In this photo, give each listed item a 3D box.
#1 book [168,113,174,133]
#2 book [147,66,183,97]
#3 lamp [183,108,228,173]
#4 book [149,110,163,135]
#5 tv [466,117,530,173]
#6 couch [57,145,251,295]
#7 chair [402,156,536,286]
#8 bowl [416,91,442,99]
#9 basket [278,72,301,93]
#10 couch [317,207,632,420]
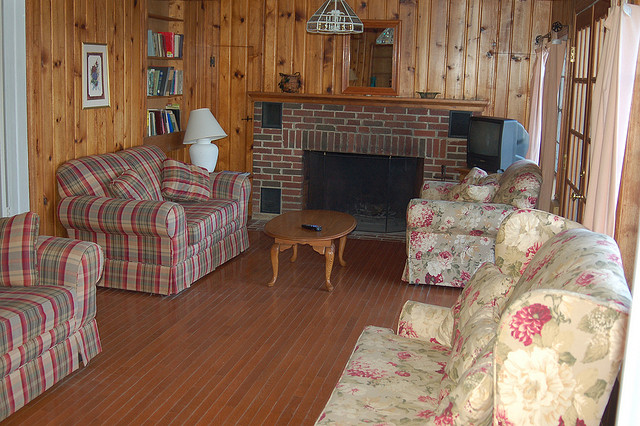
[{"bbox_3d":[-2.035,-1.199,6.486,0.035,0.165,0.154,-3,7,-10],"label":"book"},{"bbox_3d":[-2.082,-1.736,6.364,0.162,0.397,0.767,5,13,13],"label":"book"},{"bbox_3d":[-1.495,-0.881,6.153,0.524,0.870,0.550,-10,-6,22],"label":"lamp"},{"bbox_3d":[-2.130,-1.172,6.218,0.054,0.287,0.189,7,13,20],"label":"book"},{"bbox_3d":[2.245,-0.845,5.959,0.616,0.658,0.649,-3,15,-13],"label":"tv"},{"bbox_3d":[-1.734,0.003,5.059,1.403,1.165,1.474,5,13,11],"label":"couch"},{"bbox_3d":[1.679,0.025,5.512,1.207,1.353,2.078,8,11,11],"label":"chair"},{"bbox_3d":[1.456,-1.539,6.277,0.335,0.090,0.143,-2,14,-21],"label":"bowl"},{"bbox_3d":[-0.424,-1.731,6.571,0.323,0.314,0.219,0,10,-5],"label":"basket"},{"bbox_3d":[0.795,0.516,2.619,0.674,0.673,1.032,9,20,16],"label":"couch"}]
